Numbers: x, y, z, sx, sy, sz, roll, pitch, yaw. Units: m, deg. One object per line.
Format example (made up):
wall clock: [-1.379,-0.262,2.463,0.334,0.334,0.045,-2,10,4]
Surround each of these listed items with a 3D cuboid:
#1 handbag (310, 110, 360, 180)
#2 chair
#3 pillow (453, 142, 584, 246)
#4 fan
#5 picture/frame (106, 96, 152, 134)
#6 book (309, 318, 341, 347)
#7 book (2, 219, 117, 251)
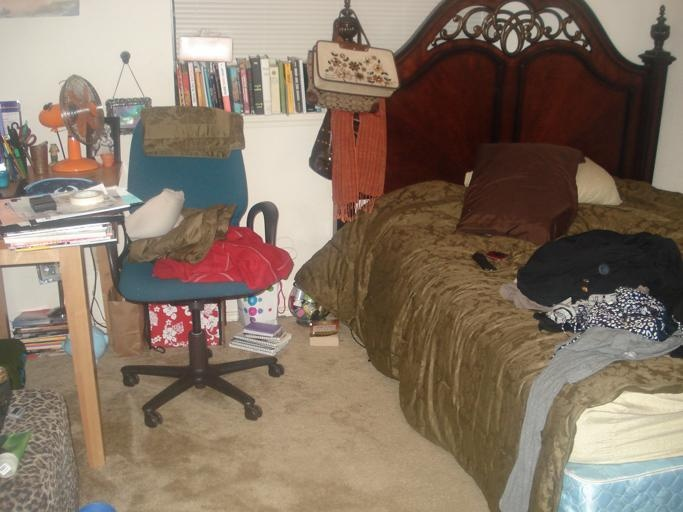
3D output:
handbag: [-0.029,-0.679,3.465,0.294,0.412,0.167,20,24,-13]
chair: [-0.711,0.022,2.898,0.844,1.497,0.757,-7,17,-23]
pillow: [0.993,-0.351,3.182,0.616,0.621,0.182,8,-25,27]
fan: [-1.421,-0.677,2.946,0.326,0.457,0.293,10,19,39]
picture/frame: [-1.190,-0.799,3.209,0.306,0.264,0.024,-4,24,-11]
book: [-0.106,0.473,3.532,0.169,0.161,0.116,-1,-12,1]
book: [-1.084,-0.077,2.232,0.385,0.108,0.089,-6,17,-21]
